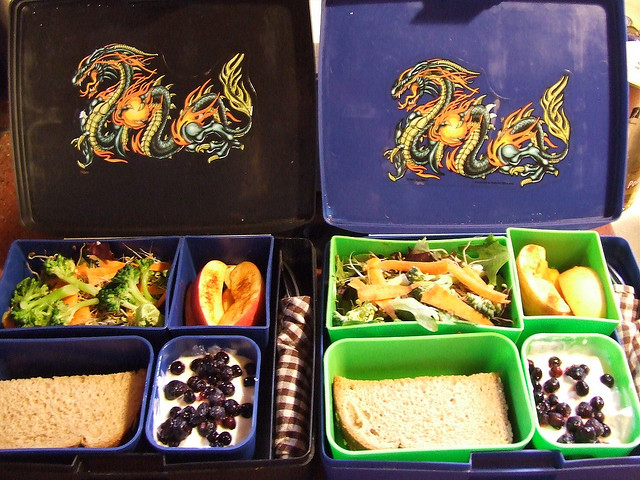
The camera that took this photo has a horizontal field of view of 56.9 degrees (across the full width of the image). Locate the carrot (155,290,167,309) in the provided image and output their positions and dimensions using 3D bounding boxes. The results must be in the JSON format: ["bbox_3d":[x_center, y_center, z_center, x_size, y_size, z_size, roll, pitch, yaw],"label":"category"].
[{"bbox_3d":[-0.544,0.203,2.038,0.010,0.048,0.035,28,12,-22],"label":"carrot"}]

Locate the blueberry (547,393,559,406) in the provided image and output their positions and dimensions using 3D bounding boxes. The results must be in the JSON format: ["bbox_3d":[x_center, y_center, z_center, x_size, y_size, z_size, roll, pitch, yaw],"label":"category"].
[{"bbox_3d":[0.715,0.490,1.799,0.025,0.034,0.018,-28,-30,26],"label":"blueberry"}]

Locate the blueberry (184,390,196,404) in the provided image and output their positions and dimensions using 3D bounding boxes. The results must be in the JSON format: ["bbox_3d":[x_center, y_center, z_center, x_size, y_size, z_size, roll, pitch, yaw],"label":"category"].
[{"bbox_3d":[-0.395,0.479,1.797,0.034,0.032,0.031,-6,20,-10],"label":"blueberry"}]

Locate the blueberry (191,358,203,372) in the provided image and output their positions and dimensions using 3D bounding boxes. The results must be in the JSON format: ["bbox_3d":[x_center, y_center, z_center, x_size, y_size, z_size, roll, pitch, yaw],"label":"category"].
[{"bbox_3d":[-0.383,0.394,1.843,0.030,0.035,0.033,0,-12,2],"label":"blueberry"}]

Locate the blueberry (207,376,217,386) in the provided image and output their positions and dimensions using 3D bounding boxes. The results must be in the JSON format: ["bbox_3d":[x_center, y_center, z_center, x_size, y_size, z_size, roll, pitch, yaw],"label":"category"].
[{"bbox_3d":[-0.333,0.437,1.829,0.024,0.029,0.020,-1,7,2],"label":"blueberry"}]

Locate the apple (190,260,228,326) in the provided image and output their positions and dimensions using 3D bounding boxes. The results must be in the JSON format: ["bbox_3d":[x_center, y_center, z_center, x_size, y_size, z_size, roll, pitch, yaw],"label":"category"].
[{"bbox_3d":[-0.393,0.213,2.052,0.131,0.084,0.332,8,54,-16],"label":"apple"}]

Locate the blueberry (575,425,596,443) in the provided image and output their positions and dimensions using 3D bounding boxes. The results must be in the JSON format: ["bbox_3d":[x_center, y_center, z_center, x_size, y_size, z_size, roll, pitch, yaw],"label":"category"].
[{"bbox_3d":[0.780,0.571,1.722,0.042,0.060,0.046,1,-12,-7],"label":"blueberry"}]

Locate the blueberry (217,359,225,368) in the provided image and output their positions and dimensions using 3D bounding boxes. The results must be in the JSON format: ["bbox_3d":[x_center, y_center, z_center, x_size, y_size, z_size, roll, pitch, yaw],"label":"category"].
[{"bbox_3d":[-0.304,0.384,1.833,0.017,0.020,0.017,-10,23,0],"label":"blueberry"}]

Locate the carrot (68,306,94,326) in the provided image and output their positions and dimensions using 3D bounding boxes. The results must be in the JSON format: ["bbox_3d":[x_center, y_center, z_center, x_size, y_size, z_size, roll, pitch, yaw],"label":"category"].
[{"bbox_3d":[-0.800,0.259,1.979,0.080,0.040,0.049,-15,24,-29],"label":"carrot"}]

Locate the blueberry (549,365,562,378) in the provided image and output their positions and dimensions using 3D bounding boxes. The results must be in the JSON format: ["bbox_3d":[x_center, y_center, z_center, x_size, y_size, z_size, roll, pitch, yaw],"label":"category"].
[{"bbox_3d":[0.740,0.414,1.840,0.033,0.033,0.032,-38,11,-31],"label":"blueberry"}]

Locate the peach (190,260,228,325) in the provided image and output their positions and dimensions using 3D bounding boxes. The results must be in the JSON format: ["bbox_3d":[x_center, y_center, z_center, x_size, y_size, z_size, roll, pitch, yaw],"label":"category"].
[{"bbox_3d":[-0.375,0.196,2.032,0.102,0.074,0.270,5,55,-15],"label":"peach"}]

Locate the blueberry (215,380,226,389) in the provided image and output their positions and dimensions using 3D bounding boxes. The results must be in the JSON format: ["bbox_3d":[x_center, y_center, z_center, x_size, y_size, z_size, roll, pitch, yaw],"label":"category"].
[{"bbox_3d":[-0.308,0.446,1.814,0.018,0.016,0.020,1,-1,-1],"label":"blueberry"}]

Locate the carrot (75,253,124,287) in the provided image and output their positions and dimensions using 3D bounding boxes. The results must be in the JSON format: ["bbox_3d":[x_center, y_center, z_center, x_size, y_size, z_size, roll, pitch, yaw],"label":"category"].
[{"bbox_3d":[-0.770,0.102,2.072,0.142,0.107,0.042,-15,-28,-1],"label":"carrot"}]

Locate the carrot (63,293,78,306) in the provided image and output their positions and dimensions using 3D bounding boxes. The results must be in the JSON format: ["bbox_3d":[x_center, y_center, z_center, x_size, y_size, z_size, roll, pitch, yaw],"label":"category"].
[{"bbox_3d":[-0.845,0.203,2.005,0.032,0.036,0.033,7,-4,-37],"label":"carrot"}]

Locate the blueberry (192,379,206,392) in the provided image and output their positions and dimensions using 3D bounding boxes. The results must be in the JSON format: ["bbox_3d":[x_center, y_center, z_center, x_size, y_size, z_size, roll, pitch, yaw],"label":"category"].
[{"bbox_3d":[-0.370,0.448,1.813,0.040,0.032,0.027,-5,19,-7],"label":"blueberry"}]

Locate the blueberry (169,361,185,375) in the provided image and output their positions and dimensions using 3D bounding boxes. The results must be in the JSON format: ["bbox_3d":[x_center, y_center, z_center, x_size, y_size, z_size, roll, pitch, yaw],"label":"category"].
[{"bbox_3d":[-0.445,0.402,1.846,0.045,0.030,0.031,-5,20,-7],"label":"blueberry"}]

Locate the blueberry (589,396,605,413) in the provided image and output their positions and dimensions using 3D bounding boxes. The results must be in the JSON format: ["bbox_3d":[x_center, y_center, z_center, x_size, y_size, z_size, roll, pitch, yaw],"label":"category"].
[{"bbox_3d":[0.841,0.495,1.778,0.035,0.042,0.021,8,2,19],"label":"blueberry"}]

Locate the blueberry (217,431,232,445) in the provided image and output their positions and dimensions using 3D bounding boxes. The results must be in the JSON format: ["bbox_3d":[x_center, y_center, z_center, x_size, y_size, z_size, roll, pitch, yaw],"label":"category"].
[{"bbox_3d":[-0.279,0.587,1.735,0.040,0.027,0.022,-5,19,-7],"label":"blueberry"}]

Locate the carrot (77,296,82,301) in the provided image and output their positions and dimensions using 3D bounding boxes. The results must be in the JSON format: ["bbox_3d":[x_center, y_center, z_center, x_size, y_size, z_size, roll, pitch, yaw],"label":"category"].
[{"bbox_3d":[-0.824,0.200,2.024,0.007,0.012,0.011,-4,-18,-4],"label":"carrot"}]

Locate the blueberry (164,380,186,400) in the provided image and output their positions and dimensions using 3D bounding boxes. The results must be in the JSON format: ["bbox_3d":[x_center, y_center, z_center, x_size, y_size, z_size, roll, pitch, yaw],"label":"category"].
[{"bbox_3d":[-0.440,0.454,1.792,0.046,0.059,0.033,49,7,18],"label":"blueberry"}]

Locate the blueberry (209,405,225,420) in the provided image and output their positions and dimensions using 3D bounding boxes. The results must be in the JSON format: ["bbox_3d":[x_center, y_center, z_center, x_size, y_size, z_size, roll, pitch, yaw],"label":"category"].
[{"bbox_3d":[-0.305,0.514,1.754,0.028,0.031,0.038,20,35,15],"label":"blueberry"}]

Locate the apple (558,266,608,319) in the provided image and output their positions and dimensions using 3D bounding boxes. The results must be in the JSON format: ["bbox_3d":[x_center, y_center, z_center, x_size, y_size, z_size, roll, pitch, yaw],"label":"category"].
[{"bbox_3d":[0.875,0.171,1.947,0.094,0.138,0.157,-7,31,-24],"label":"apple"}]

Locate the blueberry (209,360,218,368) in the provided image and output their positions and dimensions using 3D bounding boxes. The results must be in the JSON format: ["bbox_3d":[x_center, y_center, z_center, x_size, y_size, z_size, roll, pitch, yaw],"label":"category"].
[{"bbox_3d":[-0.327,0.385,1.830,0.023,0.015,0.026,-5,21,-7],"label":"blueberry"}]

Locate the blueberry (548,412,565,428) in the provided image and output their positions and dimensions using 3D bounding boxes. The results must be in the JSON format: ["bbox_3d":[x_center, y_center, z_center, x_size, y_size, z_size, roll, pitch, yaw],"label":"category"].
[{"bbox_3d":[0.709,0.538,1.757,0.041,0.037,0.032,26,13,24],"label":"blueberry"}]

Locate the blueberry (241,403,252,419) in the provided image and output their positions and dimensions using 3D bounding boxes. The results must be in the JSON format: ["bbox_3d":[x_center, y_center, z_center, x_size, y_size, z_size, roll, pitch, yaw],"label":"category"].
[{"bbox_3d":[-0.219,0.515,1.776,0.026,0.036,0.037,-3,-5,1],"label":"blueberry"}]

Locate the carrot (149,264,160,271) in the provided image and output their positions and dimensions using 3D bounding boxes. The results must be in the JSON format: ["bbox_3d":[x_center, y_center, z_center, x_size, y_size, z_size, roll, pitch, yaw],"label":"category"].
[{"bbox_3d":[-0.577,0.098,2.087,0.020,0.023,0.021,-16,-12,-29],"label":"carrot"}]

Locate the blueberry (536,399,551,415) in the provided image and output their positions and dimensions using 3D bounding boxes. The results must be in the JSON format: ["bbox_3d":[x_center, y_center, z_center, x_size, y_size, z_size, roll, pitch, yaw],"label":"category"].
[{"bbox_3d":[0.682,0.509,1.785,0.058,0.022,0.037,-14,24,-27],"label":"blueberry"}]

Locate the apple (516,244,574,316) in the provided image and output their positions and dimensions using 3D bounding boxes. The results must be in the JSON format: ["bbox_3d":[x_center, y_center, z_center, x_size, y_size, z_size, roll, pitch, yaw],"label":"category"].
[{"bbox_3d":[0.727,0.142,1.959,0.084,0.192,0.207,-32,23,32],"label":"apple"}]

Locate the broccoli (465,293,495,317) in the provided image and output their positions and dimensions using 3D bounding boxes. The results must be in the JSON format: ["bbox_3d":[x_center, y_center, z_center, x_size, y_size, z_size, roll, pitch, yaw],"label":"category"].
[{"bbox_3d":[0.522,0.211,1.908,0.078,0.035,0.059,39,4,2],"label":"broccoli"}]

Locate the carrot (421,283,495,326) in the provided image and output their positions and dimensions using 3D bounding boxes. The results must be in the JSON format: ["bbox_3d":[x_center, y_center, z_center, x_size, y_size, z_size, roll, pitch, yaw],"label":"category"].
[{"bbox_3d":[0.446,0.213,1.893,0.130,0.047,0.176,-18,31,-36],"label":"carrot"}]

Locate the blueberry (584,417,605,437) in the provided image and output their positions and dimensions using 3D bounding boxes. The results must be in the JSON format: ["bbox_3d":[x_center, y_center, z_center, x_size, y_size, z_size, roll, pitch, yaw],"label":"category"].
[{"bbox_3d":[0.814,0.551,1.742,0.032,0.047,0.045,-26,-13,-47],"label":"blueberry"}]

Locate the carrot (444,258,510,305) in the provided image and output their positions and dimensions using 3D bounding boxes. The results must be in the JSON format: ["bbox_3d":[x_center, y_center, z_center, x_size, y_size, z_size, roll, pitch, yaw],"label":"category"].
[{"bbox_3d":[0.526,0.143,1.948,0.181,0.045,0.042,42,3,32],"label":"carrot"}]

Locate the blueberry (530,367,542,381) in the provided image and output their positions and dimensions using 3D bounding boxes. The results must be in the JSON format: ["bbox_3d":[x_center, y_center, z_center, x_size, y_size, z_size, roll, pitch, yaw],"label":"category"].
[{"bbox_3d":[0.677,0.418,1.834,0.043,0.038,0.019,-12,21,-24],"label":"blueberry"}]

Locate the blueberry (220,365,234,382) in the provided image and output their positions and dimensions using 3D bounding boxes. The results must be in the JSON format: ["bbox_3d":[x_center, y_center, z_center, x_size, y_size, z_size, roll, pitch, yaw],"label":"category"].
[{"bbox_3d":[-0.285,0.412,1.818,0.037,0.042,0.022,28,-10,2],"label":"blueberry"}]

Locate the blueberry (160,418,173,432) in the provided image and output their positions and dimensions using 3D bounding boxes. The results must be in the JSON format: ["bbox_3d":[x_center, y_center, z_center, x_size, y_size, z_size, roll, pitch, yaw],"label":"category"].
[{"bbox_3d":[-0.450,0.546,1.737,0.026,0.036,0.032,5,16,9],"label":"blueberry"}]

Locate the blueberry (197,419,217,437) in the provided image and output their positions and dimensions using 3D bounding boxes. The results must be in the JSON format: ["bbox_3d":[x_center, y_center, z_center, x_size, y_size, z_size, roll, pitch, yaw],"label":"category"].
[{"bbox_3d":[-0.334,0.556,1.748,0.042,0.025,0.044,-27,44,-17],"label":"blueberry"}]

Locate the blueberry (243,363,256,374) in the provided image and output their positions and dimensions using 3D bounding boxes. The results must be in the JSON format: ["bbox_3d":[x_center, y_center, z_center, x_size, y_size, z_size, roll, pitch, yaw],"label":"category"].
[{"bbox_3d":[-0.219,0.405,1.853,0.037,0.024,0.025,1,20,9],"label":"blueberry"}]

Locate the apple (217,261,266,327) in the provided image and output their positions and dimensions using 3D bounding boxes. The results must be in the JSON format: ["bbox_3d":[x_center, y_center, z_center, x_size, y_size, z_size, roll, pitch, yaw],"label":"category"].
[{"bbox_3d":[-0.259,0.205,1.985,0.161,0.163,0.296,-3,21,-1],"label":"apple"}]

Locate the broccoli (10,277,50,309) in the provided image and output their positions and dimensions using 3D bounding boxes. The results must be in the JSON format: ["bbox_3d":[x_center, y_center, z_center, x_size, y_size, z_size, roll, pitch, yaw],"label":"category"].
[{"bbox_3d":[-0.977,0.178,1.985,0.093,0.110,0.039,9,-29,-19],"label":"broccoli"}]

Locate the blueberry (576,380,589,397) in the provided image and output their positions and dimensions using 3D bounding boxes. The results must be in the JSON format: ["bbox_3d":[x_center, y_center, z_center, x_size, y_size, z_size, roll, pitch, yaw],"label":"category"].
[{"bbox_3d":[0.806,0.455,1.801,0.032,0.020,0.036,-6,-23,-3],"label":"blueberry"}]

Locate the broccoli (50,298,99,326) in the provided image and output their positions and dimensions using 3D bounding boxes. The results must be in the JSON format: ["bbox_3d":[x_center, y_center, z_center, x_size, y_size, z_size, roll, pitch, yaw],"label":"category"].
[{"bbox_3d":[-0.845,0.236,2.004,0.119,0.068,0.082,-22,62,-38],"label":"broccoli"}]

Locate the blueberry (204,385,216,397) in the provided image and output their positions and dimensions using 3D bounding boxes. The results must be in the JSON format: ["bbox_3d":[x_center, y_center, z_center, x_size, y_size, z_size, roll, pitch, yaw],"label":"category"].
[{"bbox_3d":[-0.336,0.461,1.797,0.021,0.012,0.032,15,52,20],"label":"blueberry"}]

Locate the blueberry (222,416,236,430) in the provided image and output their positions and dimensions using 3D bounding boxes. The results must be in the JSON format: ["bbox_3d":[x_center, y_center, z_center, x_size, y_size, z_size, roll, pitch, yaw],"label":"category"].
[{"bbox_3d":[-0.268,0.546,1.755,0.027,0.035,0.021,-40,3,3],"label":"blueberry"}]

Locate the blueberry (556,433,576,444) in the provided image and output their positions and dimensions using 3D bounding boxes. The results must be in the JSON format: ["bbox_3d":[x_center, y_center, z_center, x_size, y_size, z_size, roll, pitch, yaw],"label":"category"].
[{"bbox_3d":[0.728,0.586,1.729,0.029,0.024,0.034,-12,54,8],"label":"blueberry"}]

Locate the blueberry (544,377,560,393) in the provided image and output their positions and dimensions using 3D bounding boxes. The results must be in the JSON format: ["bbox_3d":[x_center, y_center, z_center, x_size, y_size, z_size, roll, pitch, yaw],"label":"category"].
[{"bbox_3d":[0.717,0.449,1.814,0.035,0.042,0.043,-2,43,-6],"label":"blueberry"}]

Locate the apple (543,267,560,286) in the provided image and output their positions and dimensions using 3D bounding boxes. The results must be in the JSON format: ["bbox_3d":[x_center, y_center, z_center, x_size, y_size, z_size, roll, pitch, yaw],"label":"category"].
[{"bbox_3d":[0.805,0.123,2.025,0.041,0.064,0.023,-4,-19,0],"label":"apple"}]

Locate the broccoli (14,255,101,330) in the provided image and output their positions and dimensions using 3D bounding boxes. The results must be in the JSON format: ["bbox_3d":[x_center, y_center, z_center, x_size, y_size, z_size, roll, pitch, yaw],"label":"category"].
[{"bbox_3d":[-0.893,0.206,2.028,0.237,0.228,0.087,-44,-4,-22],"label":"broccoli"}]

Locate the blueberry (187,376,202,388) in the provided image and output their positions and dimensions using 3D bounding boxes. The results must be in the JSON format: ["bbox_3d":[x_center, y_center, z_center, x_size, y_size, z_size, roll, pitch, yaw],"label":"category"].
[{"bbox_3d":[-0.392,0.438,1.815,0.019,0.033,0.029,8,-7,-20],"label":"blueberry"}]

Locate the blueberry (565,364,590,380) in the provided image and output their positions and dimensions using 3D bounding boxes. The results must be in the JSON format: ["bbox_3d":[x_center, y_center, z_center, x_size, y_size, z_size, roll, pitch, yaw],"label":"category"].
[{"bbox_3d":[0.807,0.410,1.828,0.050,0.020,0.042,22,49,25],"label":"blueberry"}]

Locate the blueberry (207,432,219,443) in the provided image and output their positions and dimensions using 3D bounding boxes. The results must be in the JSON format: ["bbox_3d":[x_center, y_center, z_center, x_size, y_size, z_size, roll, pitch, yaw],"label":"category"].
[{"bbox_3d":[-0.312,0.585,1.737,0.028,0.024,0.022,-13,22,-26],"label":"blueberry"}]

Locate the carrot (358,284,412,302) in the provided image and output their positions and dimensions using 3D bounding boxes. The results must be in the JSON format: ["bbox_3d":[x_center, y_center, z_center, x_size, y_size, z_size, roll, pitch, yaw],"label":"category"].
[{"bbox_3d":[0.218,0.171,1.936,0.180,0.042,0.045,-6,20,-7],"label":"carrot"}]
